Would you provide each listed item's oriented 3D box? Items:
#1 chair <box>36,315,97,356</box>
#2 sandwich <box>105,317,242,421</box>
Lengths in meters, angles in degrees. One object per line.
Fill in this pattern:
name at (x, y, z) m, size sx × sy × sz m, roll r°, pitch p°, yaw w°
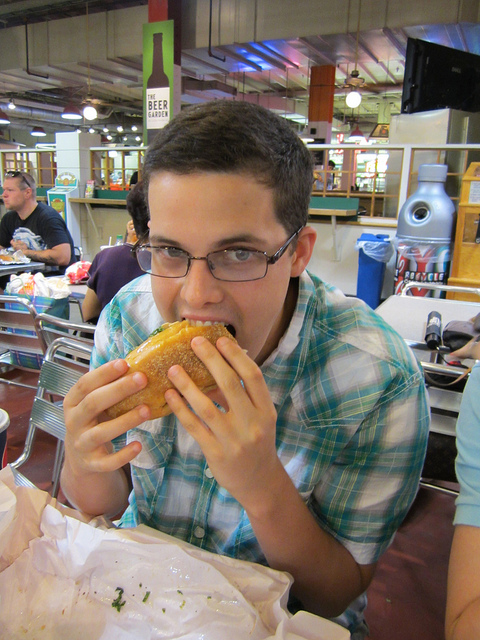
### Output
chair at (-0.953, 0.082, 2.466) m, size 0.157 × 0.265 × 0.186 m, roll 13°, pitch 39°, yaw -6°
sandwich at (-0.158, 0.056, 0.929) m, size 0.250 × 0.180 × 0.081 m, roll -32°, pitch 45°, yaw -21°
